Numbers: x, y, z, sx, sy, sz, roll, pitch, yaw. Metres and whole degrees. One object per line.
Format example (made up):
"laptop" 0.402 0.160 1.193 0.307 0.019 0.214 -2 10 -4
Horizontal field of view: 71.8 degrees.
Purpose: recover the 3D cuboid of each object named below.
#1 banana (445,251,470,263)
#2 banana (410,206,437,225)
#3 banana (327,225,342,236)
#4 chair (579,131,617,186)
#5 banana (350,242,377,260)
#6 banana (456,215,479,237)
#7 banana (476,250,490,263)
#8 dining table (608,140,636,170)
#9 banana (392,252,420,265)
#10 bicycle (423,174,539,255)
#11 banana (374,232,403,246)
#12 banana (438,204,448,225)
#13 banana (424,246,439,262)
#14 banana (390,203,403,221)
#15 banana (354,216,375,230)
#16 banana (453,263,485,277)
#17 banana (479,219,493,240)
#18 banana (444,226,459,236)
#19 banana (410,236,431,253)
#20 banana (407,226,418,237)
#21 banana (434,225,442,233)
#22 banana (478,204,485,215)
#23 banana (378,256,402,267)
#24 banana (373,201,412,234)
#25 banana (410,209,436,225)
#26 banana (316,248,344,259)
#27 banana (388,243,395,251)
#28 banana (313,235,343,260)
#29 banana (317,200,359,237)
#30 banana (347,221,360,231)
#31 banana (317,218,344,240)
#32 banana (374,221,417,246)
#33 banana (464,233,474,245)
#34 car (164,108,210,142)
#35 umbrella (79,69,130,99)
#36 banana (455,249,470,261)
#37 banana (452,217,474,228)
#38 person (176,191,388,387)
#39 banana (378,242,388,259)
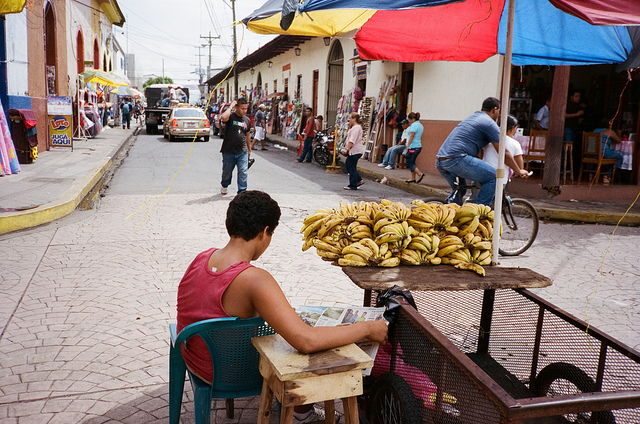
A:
"banana" 1.191 0.377 3.822 0.252 0.050 0.091 10 33 -1
"banana" 0.898 0.034 3.839 0.255 0.045 0.067 22 38 23
"banana" 0.127 0.149 3.827 0.073 0.092 0.024 6 1 15
"chair" 8.028 -1.519 12.647 1.023 1.343 1.019 8 10 21
"banana" 0.356 0.323 3.628 0.172 0.033 0.046 39 52 26
"banana" 1.312 0.118 3.934 0.050 0.162 0.108 41 27 25
"banana" 1.419 0.368 3.847 0.148 0.034 0.060 -43 58 -13
"dining table" 8.630 -1.617 12.518 0.820 0.779 0.801 -6 11 -32
"banana" 0.728 0.385 3.747 0.235 0.114 0.047 0 16 -7
"bicycle" 3.228 -0.028 8.160 2.385 1.448 1.163 6 14 -3
"banana" 0.561 0.206 3.669 0.307 0.091 0.072 -8 55 4
"banana" 1.106 -0.002 3.917 0.038 0.127 0.103 2 -14 22
"banana" 0.951 0.359 3.814 0.179 0.047 0.063 -44 22 -6
"banana" 0.674 -0.017 3.872 0.067 0.042 0.199 1 39 -10
"banana" 0.382 0.078 3.837 0.152 0.096 0.045 21 -21 -37
"banana" 1.281 0.457 3.739 0.261 0.070 0.123 14 19 37
"banana" 1.537 0.147 4.081 0.139 0.157 0.107 3 16 4
"banana" 1.174 0.164 3.910 0.166 0.090 0.050 -7 18 -30
"banana" 0.864 0.257 3.752 0.221 0.066 0.059 29 4 1
"banana" 0.769 0.164 3.735 0.052 0.121 0.039 -8 41 14
"banana" 1.028 0.146 3.859 0.060 0.026 0.065 -3 -15 17
"banana" 1.511 -0.018 4.079 0.034 0.083 0.084 2 26 1
"banana" 0.582 0.402 3.705 0.166 0.073 0.055 -15 -2 -28
"banana" 0.625 0.041 3.872 0.228 0.101 0.304 -30 10 8
"banana" 0.885 0.045 3.824 0.230 0.048 0.058 20 10 -6
"banana" 0.112 0.349 3.808 0.289 0.075 0.093 7 12 15
"banana" 0.603 0.293 3.730 0.022 0.043 0.059 -35 45 11
"banana" 0.064 0.308 3.792 0.239 0.150 0.084 23 12 28
"banana" 0.205 0.068 3.974 0.211 0.136 0.419 26 60 26
"banana" 0.277 0.112 3.795 0.058 0.023 0.104 12 36 42
"banana" 0.099 0.147 3.843 0.066 0.244 0.054 40 23 -53
"banana" 0.622 0.175 3.694 0.077 0.220 0.229 43 26 6
"banana" 1.320 0.229 3.904 0.072 0.084 0.065 -8 19 -33
"car" -7.633 -4.966 25.461 2.160 1.924 1.938 -4 17 -21
"umbrella" -12.452 -7.307 25.535 1.727 0.624 1.667 20 23 21
"banana" 1.238 0.358 3.857 0.030 0.042 0.164 -8 48 -46
"banana" 1.275 0.077 4.003 0.081 0.055 0.240 7 -26 -42
"person" -0.383 0.454 2.923 1.421 1.091 0.512 5 16 11
"banana" 0.525 0.303 3.664 0.046 0.152 0.051 21 -21 12
